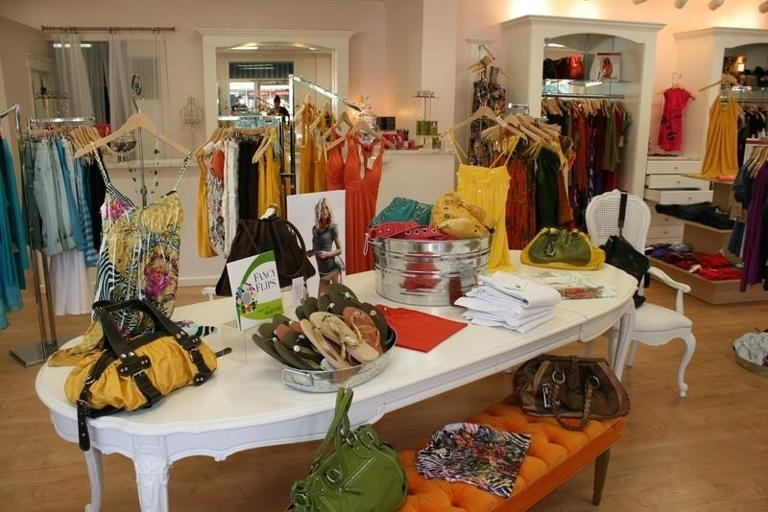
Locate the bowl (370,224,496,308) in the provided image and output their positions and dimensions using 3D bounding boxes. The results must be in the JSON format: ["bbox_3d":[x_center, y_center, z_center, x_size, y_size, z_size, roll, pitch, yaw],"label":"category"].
[{"bbox_3d":[0.314,0.041,3.192,0.681,0.356,0.663,-2,8,0],"label":"bowl"}]

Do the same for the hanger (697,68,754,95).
[{"bbox_3d":[4.384,-2.232,6.886,0.511,0.186,0.321,-22,33,-36],"label":"hanger"}]

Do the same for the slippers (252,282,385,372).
[{"bbox_3d":[-0.249,0.337,2.359,0.371,0.072,0.400,30,41,31],"label":"slippers"}]

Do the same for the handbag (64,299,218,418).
[{"bbox_3d":[-1.017,0.412,2.211,0.530,0.363,0.380,1,16,9],"label":"handbag"}]

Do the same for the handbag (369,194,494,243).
[{"bbox_3d":[0.262,-0.185,3.014,0.454,0.171,0.386,-2,16,-4],"label":"handbag"}]

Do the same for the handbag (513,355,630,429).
[{"bbox_3d":[0.961,0.695,2.805,0.400,0.188,0.408,0,29,4],"label":"handbag"}]

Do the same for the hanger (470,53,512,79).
[{"bbox_3d":[1.312,-2.266,6.670,0.498,0.196,0.333,1,20,-33],"label":"hanger"}]

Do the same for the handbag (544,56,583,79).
[{"bbox_3d":[2.267,-2.366,6.799,0.447,0.170,0.297,3,24,6],"label":"handbag"}]
